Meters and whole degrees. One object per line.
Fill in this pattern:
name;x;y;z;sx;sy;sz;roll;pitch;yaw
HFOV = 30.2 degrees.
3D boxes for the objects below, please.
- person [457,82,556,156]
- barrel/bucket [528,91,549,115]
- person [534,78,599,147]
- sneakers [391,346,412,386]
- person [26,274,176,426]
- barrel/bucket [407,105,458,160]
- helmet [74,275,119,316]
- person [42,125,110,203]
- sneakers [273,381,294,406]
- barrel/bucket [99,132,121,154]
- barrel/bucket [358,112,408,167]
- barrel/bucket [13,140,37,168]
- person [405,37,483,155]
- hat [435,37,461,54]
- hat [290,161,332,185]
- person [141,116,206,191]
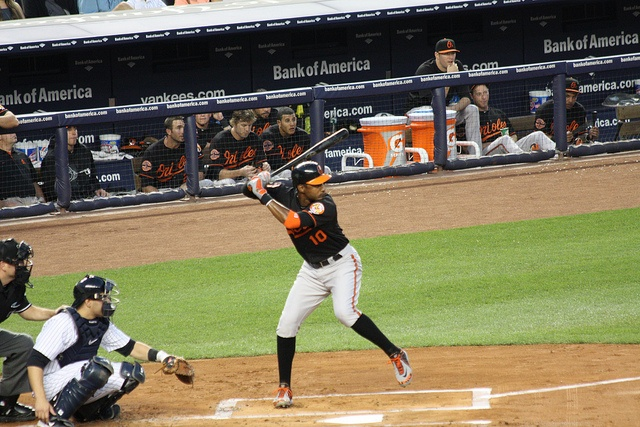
person;3.487;-1.599;21.701;1.038;1.424;2.166;-16;15;-35
barrel/bucket;4.273;-2.150;22.956;0.459;0.436;0.426;-2;17;1
person;4.687;-1.805;22.071;1.361;1.138;1.028;8;10;41
sneakers;1.054;1.998;15.199;0.211;0.524;0.292;-23;-12;23
person;-2.816;1.722;14.673;1.589;1.825;0.531;-8;13;-13
barrel/bucket;2.108;-1.515;21.844;1.031;0.898;0.663;-7;11;-30
helmet;-2.803;1.036;14.759;0.616;0.456;0.429;6;6;1
person;-4.310;-0.850;20.494;1.100;1.328;0.366;-9;13;-16
sneakers;-0.475;2.324;14.963;0.246;0.288;0.252;-6;12;-1
barrel/bucket;-3.813;-1.252;21.364;0.409;0.269;0.370;-1;3;28
barrel/bucket;1.273;-1.309;22.169;0.972;0.890;0.895;-3;3;0
barrel/bucket;-5.060;-1.027;20.554;0.441;0.425;0.408;0;12;0
person;2.313;-2.127;21.965;1.131;2.181;0.959;-10;13;-19
hat;2.338;-3.107;21.832;0.316;0.227;0.433;-5;5;-42
hat;-0.131;-0.487;15.013;0.411;0.199;0.295;-9;12;4
person;-2.588;-1.089;20.908;1.091;1.140;0.726;-12;33;-26
